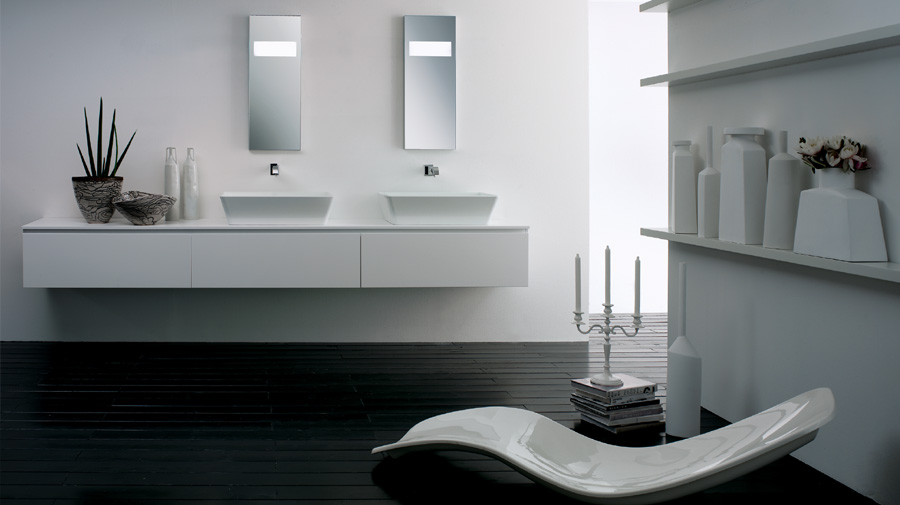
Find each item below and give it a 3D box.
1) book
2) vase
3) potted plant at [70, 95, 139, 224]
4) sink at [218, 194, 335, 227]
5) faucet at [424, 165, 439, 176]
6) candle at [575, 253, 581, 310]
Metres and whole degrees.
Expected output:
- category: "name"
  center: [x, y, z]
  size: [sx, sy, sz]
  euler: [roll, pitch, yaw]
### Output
- category: "book"
  center: [0.995, 0.817, 3.888]
  size: [0.478, 0.194, 0.340]
  euler: [-2, 6, -25]
- category: "vase"
  center: [1.791, -0.315, 3.357]
  size: [0.276, 0.654, 0.796]
  euler: [-8, 10, -31]
- category: "potted plant"
  center: [-2.731, -0.722, 5.125]
  size: [0.479, 0.962, 0.496]
  euler: [-4, 9, -10]
- category: "sink"
  center: [-1.293, -0.320, 4.922]
  size: [0.808, 0.236, 0.128]
  euler: [-1, 9, 1]
- category: "faucet"
  center: [-0.156, -0.665, 5.364]
  size: [0.168, 0.096, 0.082]
  euler: [0, 9, -3]
- category: "candle"
  center: [0.763, 0.190, 3.909]
  size: [0.024, 0.326, 0.095]
  euler: [1, 10, 16]
